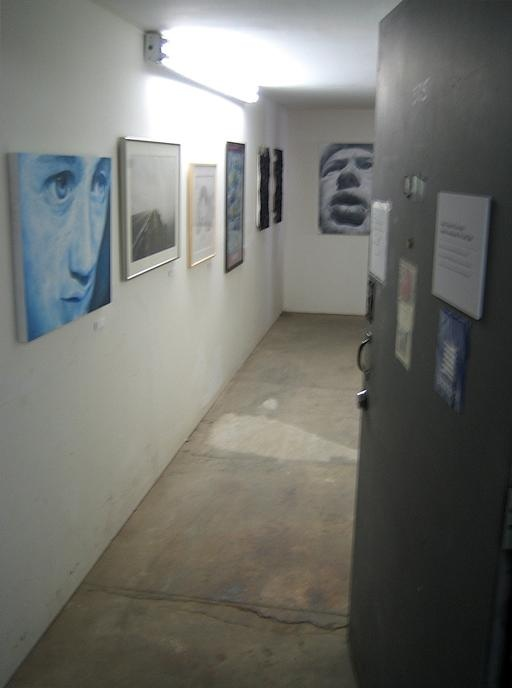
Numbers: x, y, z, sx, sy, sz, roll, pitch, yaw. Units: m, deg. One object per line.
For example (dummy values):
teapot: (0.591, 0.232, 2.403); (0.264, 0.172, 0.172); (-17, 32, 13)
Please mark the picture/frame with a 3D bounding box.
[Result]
picture/frame: (-0.517, -0.966, 3.425); (0.034, 0.815, 1.134); (12, 25, 23)
